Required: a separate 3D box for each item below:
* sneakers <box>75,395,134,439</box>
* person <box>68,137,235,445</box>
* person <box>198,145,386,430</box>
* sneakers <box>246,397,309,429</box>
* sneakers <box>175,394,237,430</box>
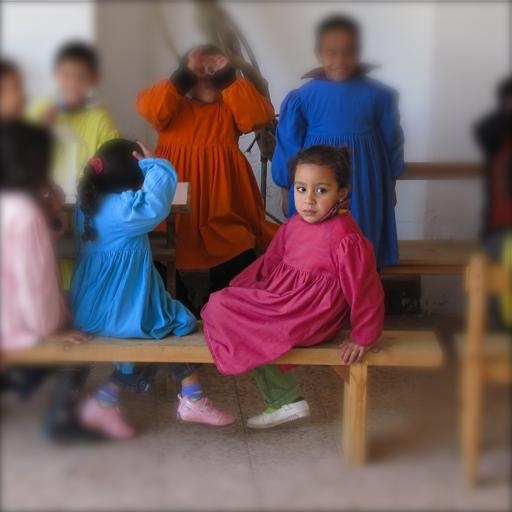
[{"bbox_3d":[-0.377,0.411,1.534,0.140,0.091,0.076,9,9,5],"label":"sneakers"},{"bbox_3d":[-0.295,0.104,1.795,0.373,0.801,0.474,-6,-8,42],"label":"person"},{"bbox_3d":[0.097,0.095,1.664,0.505,0.740,0.356,5,1,13],"label":"person"},{"bbox_3d":[0.070,0.467,1.797,0.202,0.082,0.072,-10,-19,7],"label":"sneakers"},{"bbox_3d":[-0.131,0.447,1.754,0.189,0.077,0.065,5,5,-3],"label":"sneakers"}]
